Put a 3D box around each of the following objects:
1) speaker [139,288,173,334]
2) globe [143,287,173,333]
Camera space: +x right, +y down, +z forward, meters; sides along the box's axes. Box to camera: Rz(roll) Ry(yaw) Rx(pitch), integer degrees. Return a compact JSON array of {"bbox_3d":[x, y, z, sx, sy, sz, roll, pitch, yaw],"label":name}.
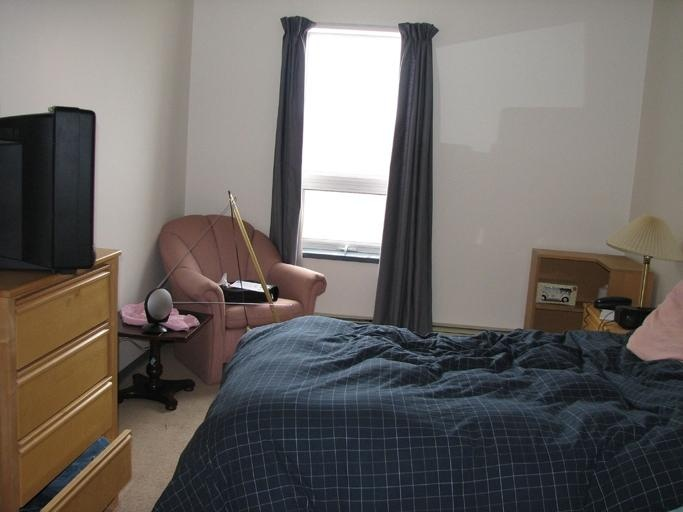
[{"bbox_3d":[-1.068,0.301,3.250,0.148,0.264,0.155,15,13,41],"label":"speaker"},{"bbox_3d":[-1.064,0.303,3.250,0.155,0.253,0.141,-2,13,-43],"label":"globe"}]
